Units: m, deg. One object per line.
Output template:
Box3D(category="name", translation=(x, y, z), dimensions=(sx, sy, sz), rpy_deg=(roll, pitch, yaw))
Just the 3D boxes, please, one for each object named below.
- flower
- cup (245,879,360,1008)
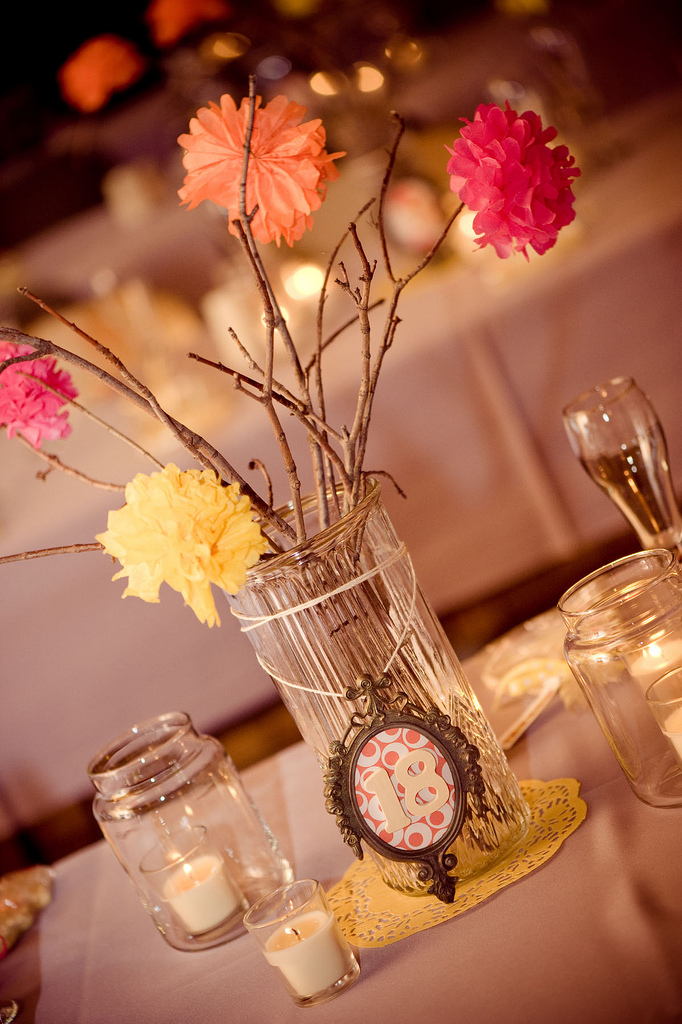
Box3D(category="flower", translation=(-0.018, -0.131, 0.632), dimensions=(0.330, 0.312, 0.356), rpy_deg=(-11, -16, -14))
Box3D(category="cup", translation=(-0.020, 0.259, 0.534), dimensions=(0.050, 0.074, 0.053), rpy_deg=(-30, 12, 7))
